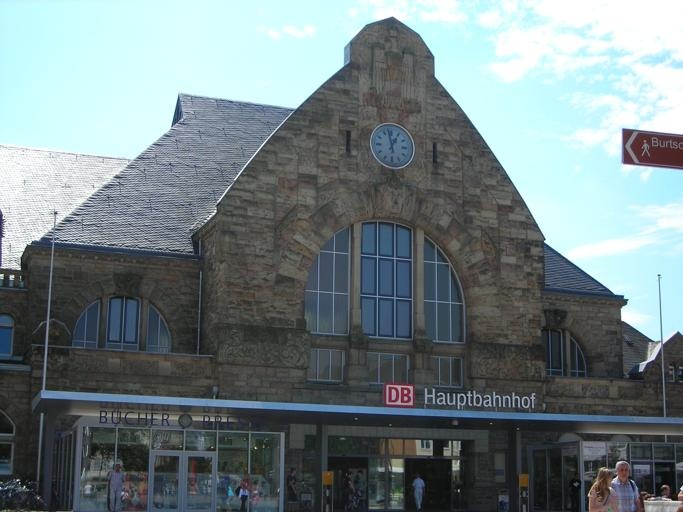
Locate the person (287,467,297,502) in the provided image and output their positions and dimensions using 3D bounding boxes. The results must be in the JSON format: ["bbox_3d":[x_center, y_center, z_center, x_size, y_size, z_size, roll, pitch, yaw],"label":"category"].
[{"bbox_3d":[-2.090,9.875,59.183,0.435,1.482,0.572,1,-15,-5],"label":"person"}]
